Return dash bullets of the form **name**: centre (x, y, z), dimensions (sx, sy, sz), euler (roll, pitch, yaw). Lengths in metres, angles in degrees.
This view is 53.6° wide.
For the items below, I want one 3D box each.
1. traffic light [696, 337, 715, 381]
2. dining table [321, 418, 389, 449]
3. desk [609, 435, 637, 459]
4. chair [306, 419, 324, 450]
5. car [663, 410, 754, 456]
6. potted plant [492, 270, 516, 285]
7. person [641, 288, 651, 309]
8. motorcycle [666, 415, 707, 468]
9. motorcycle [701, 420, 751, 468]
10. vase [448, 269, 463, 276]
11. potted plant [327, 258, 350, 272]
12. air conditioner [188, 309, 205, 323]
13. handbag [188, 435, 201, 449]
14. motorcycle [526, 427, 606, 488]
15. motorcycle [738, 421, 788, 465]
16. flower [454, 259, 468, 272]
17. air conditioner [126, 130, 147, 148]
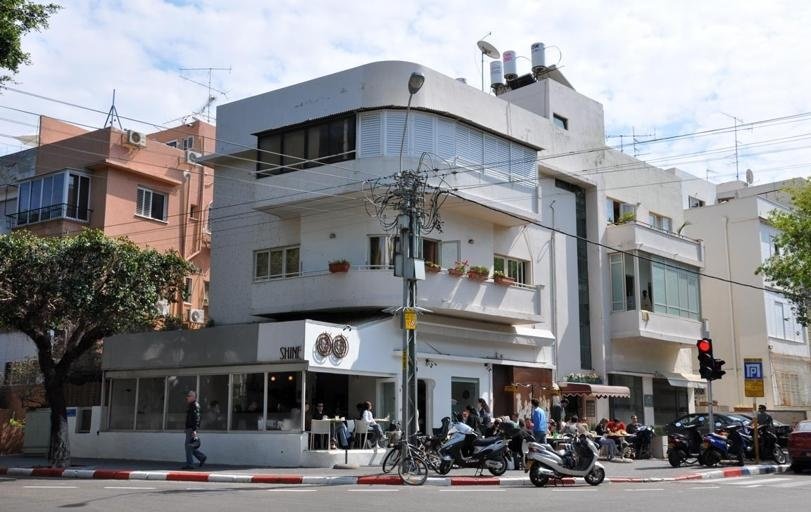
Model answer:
- **traffic light**: centre (12.573, 4.298, 33.512), dimensions (0.608, 1.725, 1.164), euler (-5, -17, 19)
- **dining table**: centre (-2.229, 7.416, 33.466), dimensions (2.584, 1.241, 1.337), euler (6, -26, -15)
- **desk**: centre (10.031, 8.724, 36.662), dimensions (1.174, 0.505, 1.367), euler (-1, -8, 2)
- **chair**: centre (-3.555, 7.254, 32.665), dimensions (0.687, 1.165, 0.886), euler (2, -16, -4)
- **car**: centre (14.209, 8.608, 37.815), dimensions (3.911, 1.810, 2.394), euler (0, -9, 17)
- **potted plant**: centre (4.741, 1.068, 38.969), dimensions (0.563, 0.314, 0.898), euler (-5, -11, 41)
- **person**: centre (13.486, 2.440, 44.917), dimensions (0.715, 1.164, 0.188), euler (12, -19, -32)
- **motorcycle**: centre (11.831, 7.793, 33.526), dimensions (2.658, 1.786, 1.103), euler (8, -12, -41)
- **motorcycle**: centre (13.235, 7.822, 33.087), dimensions (2.798, 1.606, 1.057), euler (10, -13, -30)
- **vase**: centre (2.348, 0.753, 37.377), dimensions (0.814, 0.350, 0.184), euler (12, -20, -34)
- **potted plant**: centre (-3.027, 0.420, 36.788), dimensions (0.703, 0.295, 0.573), euler (-1, -16, 5)
- **air conditioner**: centre (-11.442, 3.294, 43.886), dimensions (0.212, 0.571, 0.651), euler (-9, -12, 27)
- **handbag**: centre (-8.132, 7.162, 30.907), dimensions (0.346, 0.449, 0.293), euler (2, -16, -4)
- **motorcycle**: centre (5.658, 7.107, 28.184), dimensions (3.069, 1.976, 1.089), euler (5, -12, -20)
- **motorcycle**: centre (15.209, 8.189, 34.998), dimensions (2.830, 1.656, 1.375), euler (1, -11, 0)
- **flower**: centre (2.657, 0.486, 38.050), dimensions (0.546, 0.707, 0.582), euler (6, -40, -13)
- **air conditioner**: centre (-15.367, -6.688, 45.949), dimensions (0.957, 0.653, 1.363), euler (0, -16, 3)
